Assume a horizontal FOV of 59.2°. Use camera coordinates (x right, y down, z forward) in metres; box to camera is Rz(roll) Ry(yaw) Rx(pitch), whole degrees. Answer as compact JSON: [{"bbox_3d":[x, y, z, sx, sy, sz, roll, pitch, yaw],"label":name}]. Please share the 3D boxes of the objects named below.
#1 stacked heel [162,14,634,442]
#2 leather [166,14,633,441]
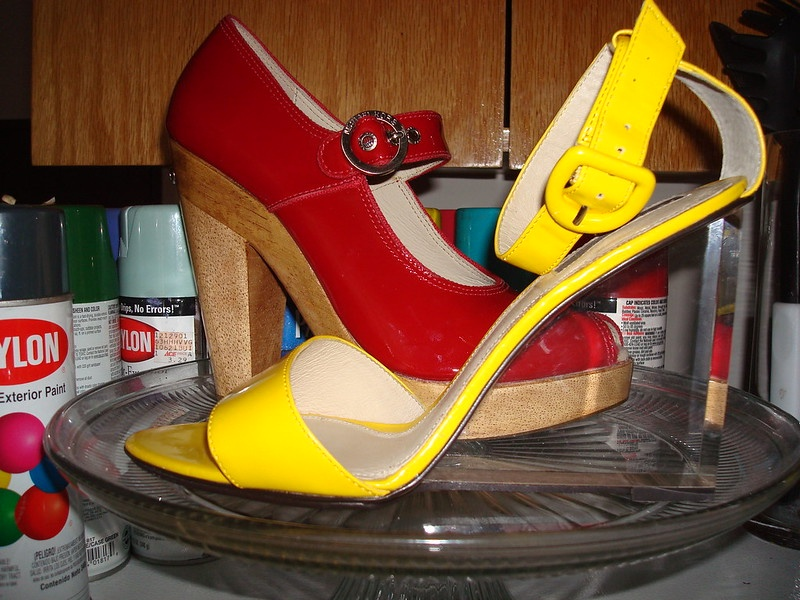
[{"bbox_3d":[-0.008,-0.074,0.723,0.521,0.371,0.185,10,7,17],"label":"stacked heel"},{"bbox_3d":[-0.074,-0.118,0.877,0.691,0.489,0.240,14,12,11],"label":"leather"}]
